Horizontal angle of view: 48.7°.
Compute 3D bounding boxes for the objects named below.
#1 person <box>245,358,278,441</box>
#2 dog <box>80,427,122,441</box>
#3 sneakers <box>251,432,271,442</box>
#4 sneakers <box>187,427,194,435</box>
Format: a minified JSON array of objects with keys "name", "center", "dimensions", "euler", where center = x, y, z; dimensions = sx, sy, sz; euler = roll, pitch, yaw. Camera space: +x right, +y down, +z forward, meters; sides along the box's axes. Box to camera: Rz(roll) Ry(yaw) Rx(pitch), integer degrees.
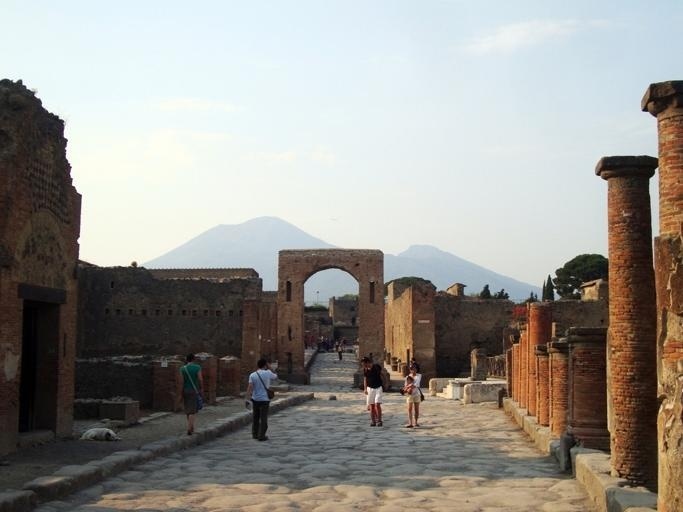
[{"name":"person","center":[-1.388,2.450,13.082],"dimensions":[0.484,1.337,1.035],"euler":[0,-8,-7]},{"name":"dog","center":[-3.817,2.807,11.906],"dimensions":[0.493,0.153,0.198],"euler":[4,-3,18]},{"name":"sneakers","center":[-1.332,3.032,12.685],"dimensions":[0.300,0.199,0.107],"euler":[-3,6,-38]},{"name":"sneakers","center":[-2.443,2.825,12.196],"dimensions":[0.058,0.065,0.171],"euler":[2,0,7]}]
